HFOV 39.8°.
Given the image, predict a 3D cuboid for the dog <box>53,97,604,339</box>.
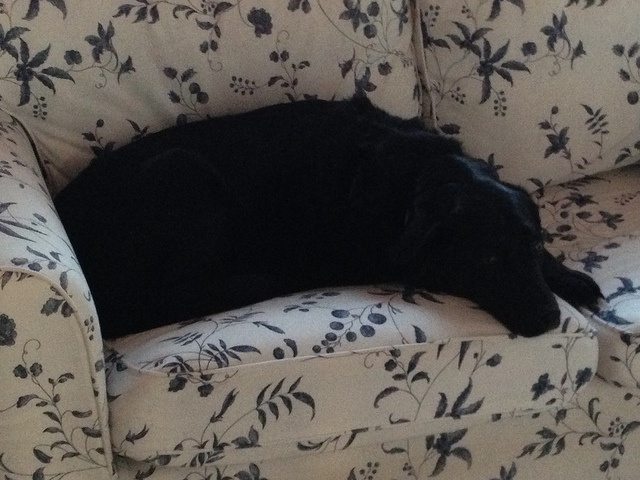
[{"bbox_3d":[0.022,-0.045,1.624,0.811,0.311,0.467,2,29,6],"label":"dog"}]
